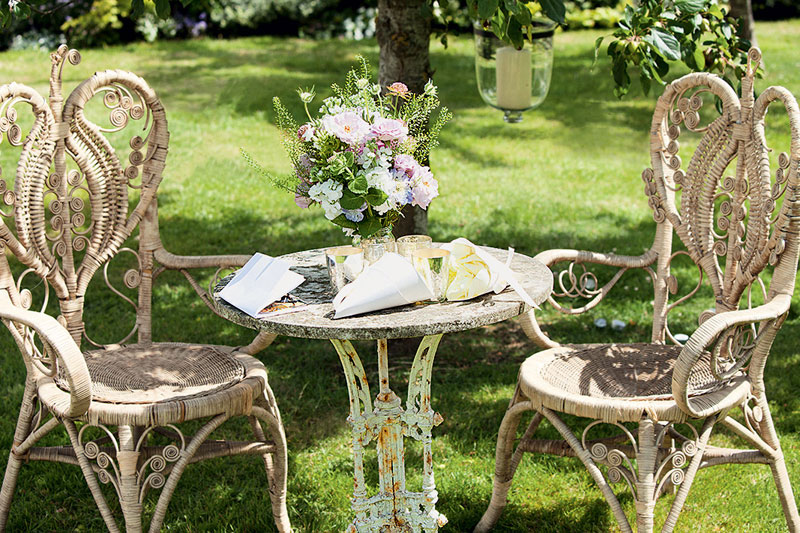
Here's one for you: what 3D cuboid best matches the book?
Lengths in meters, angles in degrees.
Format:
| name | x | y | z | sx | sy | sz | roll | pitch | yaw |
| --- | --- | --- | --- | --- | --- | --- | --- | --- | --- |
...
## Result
| name | x | y | z | sx | sy | sz | roll | pitch | yaw |
| --- | --- | --- | --- | --- | --- | --- | --- | --- | --- |
| book | -0.703 | 0.089 | 5.559 | 0.322 | 0.218 | 0.381 | -14 | 19 | -41 |

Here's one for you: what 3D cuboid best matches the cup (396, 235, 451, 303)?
| name | x | y | z | sx | sy | sz | roll | pitch | yaw |
| --- | --- | --- | --- | --- | --- | --- | --- | --- | --- |
| cup | 0.127 | 0.014 | 5.562 | 0.212 | 0.270 | 0.353 | -5 | 15 | -13 |
